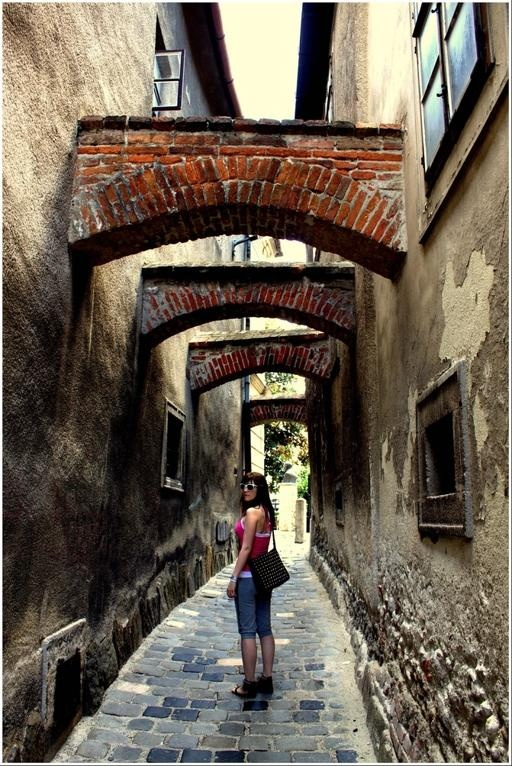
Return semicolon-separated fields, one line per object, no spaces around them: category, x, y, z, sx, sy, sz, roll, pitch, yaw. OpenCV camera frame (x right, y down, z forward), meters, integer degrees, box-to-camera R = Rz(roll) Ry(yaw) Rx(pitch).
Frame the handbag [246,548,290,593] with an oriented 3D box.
handbag;0.103;1.469;3.718;0.268;0.379;0.093;-16;-7;-31

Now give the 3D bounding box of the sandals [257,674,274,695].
sandals;0.078;2.271;3.739;0.127;0.123;0.157;0;-12;-1

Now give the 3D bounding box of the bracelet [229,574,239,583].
bracelet;-0.173;1.473;3.730;0.043;0.060;0.117;5;-14;-25

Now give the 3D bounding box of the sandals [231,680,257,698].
sandals;-0.084;2.253;3.679;0.156;0.151;0.102;3;-13;24
